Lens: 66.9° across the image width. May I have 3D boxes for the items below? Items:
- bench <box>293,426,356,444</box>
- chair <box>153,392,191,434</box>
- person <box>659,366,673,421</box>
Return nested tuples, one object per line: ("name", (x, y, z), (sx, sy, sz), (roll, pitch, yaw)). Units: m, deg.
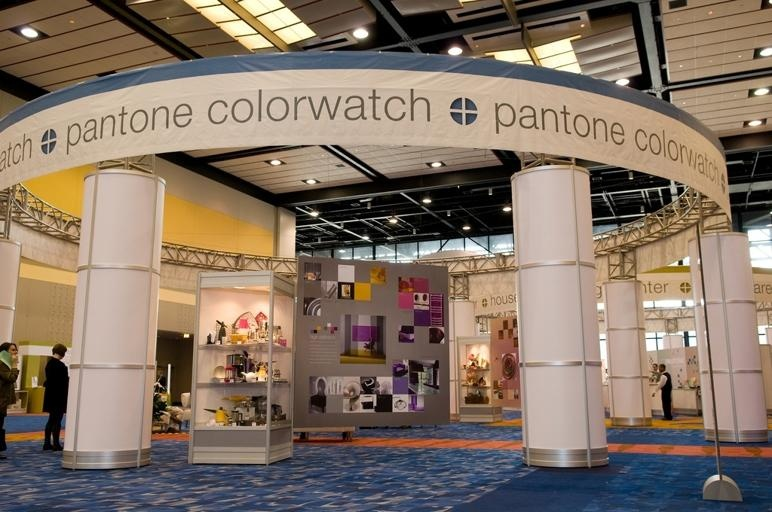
("bench", (-1.472, 4.054, 13.528), (1.294, 0.358, 2.070), (0, -11, -9))
("chair", (-5.553, 4.049, 15.165), (0.866, 0.997, 2.311), (2, -12, -20))
("person", (8.736, 4.217, 18.145), (0.320, 1.654, 0.714), (-8, -13, 23))
